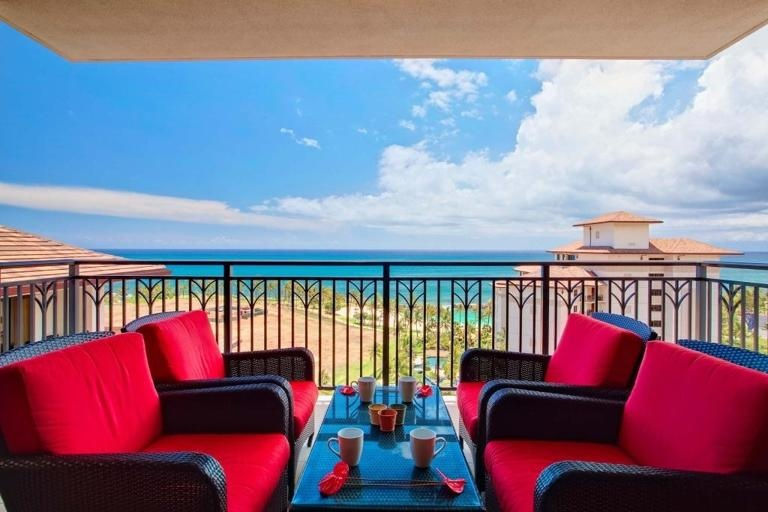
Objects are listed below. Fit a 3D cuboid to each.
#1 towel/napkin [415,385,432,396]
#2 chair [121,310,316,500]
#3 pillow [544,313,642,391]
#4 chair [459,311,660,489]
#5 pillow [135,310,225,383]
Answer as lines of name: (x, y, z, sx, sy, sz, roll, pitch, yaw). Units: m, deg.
towel/napkin: (0.288, 0.994, 4.170, 0.089, 0.037, 0.082, 1, -10, -15)
chair: (-1.037, 0.931, 3.968, 1.497, 1.268, 1.048, 0, -1, 0)
pillow: (1.456, 0.673, 3.904, 0.233, 0.405, 0.439, 25, 3, -5)
chair: (1.091, 0.989, 4.296, 1.386, 1.168, 1.143, 1, -6, -1)
pillow: (-1.424, 0.652, 3.973, 0.214, 0.494, 0.539, -24, -5, 28)
